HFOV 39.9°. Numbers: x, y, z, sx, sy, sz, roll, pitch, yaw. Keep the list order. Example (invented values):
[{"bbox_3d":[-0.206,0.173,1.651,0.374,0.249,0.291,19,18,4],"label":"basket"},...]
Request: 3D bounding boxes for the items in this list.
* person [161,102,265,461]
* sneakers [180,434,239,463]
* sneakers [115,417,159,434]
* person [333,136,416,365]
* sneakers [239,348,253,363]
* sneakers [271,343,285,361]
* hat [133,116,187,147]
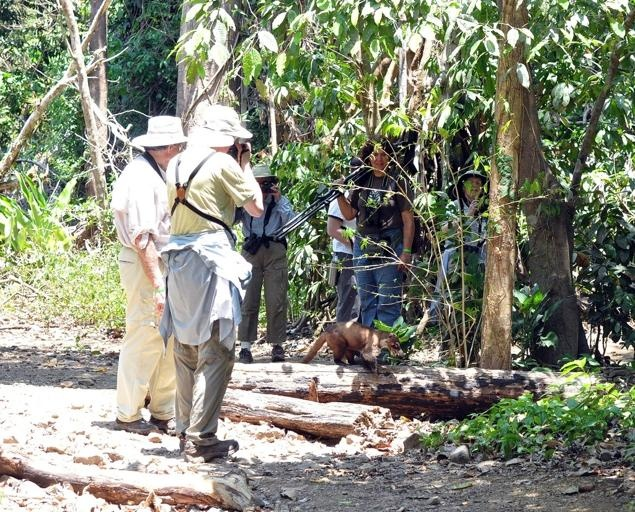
[{"bbox_3d":[-0.908,0.223,7.035,0.693,2.757,0.849,5,14,21],"label":"person"},{"bbox_3d":[-0.872,1.509,7.105,0.459,0.239,0.176,-13,19,-35],"label":"sneakers"},{"bbox_3d":[-1.535,1.435,7.450,0.330,0.147,0.138,1,2,5],"label":"sneakers"},{"bbox_3d":[0.657,-0.098,8.946,0.734,2.124,1.150,-5,13,-18],"label":"person"},{"bbox_3d":[-0.747,1.038,9.113,0.102,0.104,0.234,2,-15,-8],"label":"sneakers"},{"bbox_3d":[-0.411,1.029,9.261,0.131,0.155,0.253,-1,13,-1],"label":"sneakers"},{"bbox_3d":[-1.286,-1.106,7.410,0.355,0.142,0.319,24,29,13],"label":"hat"}]
